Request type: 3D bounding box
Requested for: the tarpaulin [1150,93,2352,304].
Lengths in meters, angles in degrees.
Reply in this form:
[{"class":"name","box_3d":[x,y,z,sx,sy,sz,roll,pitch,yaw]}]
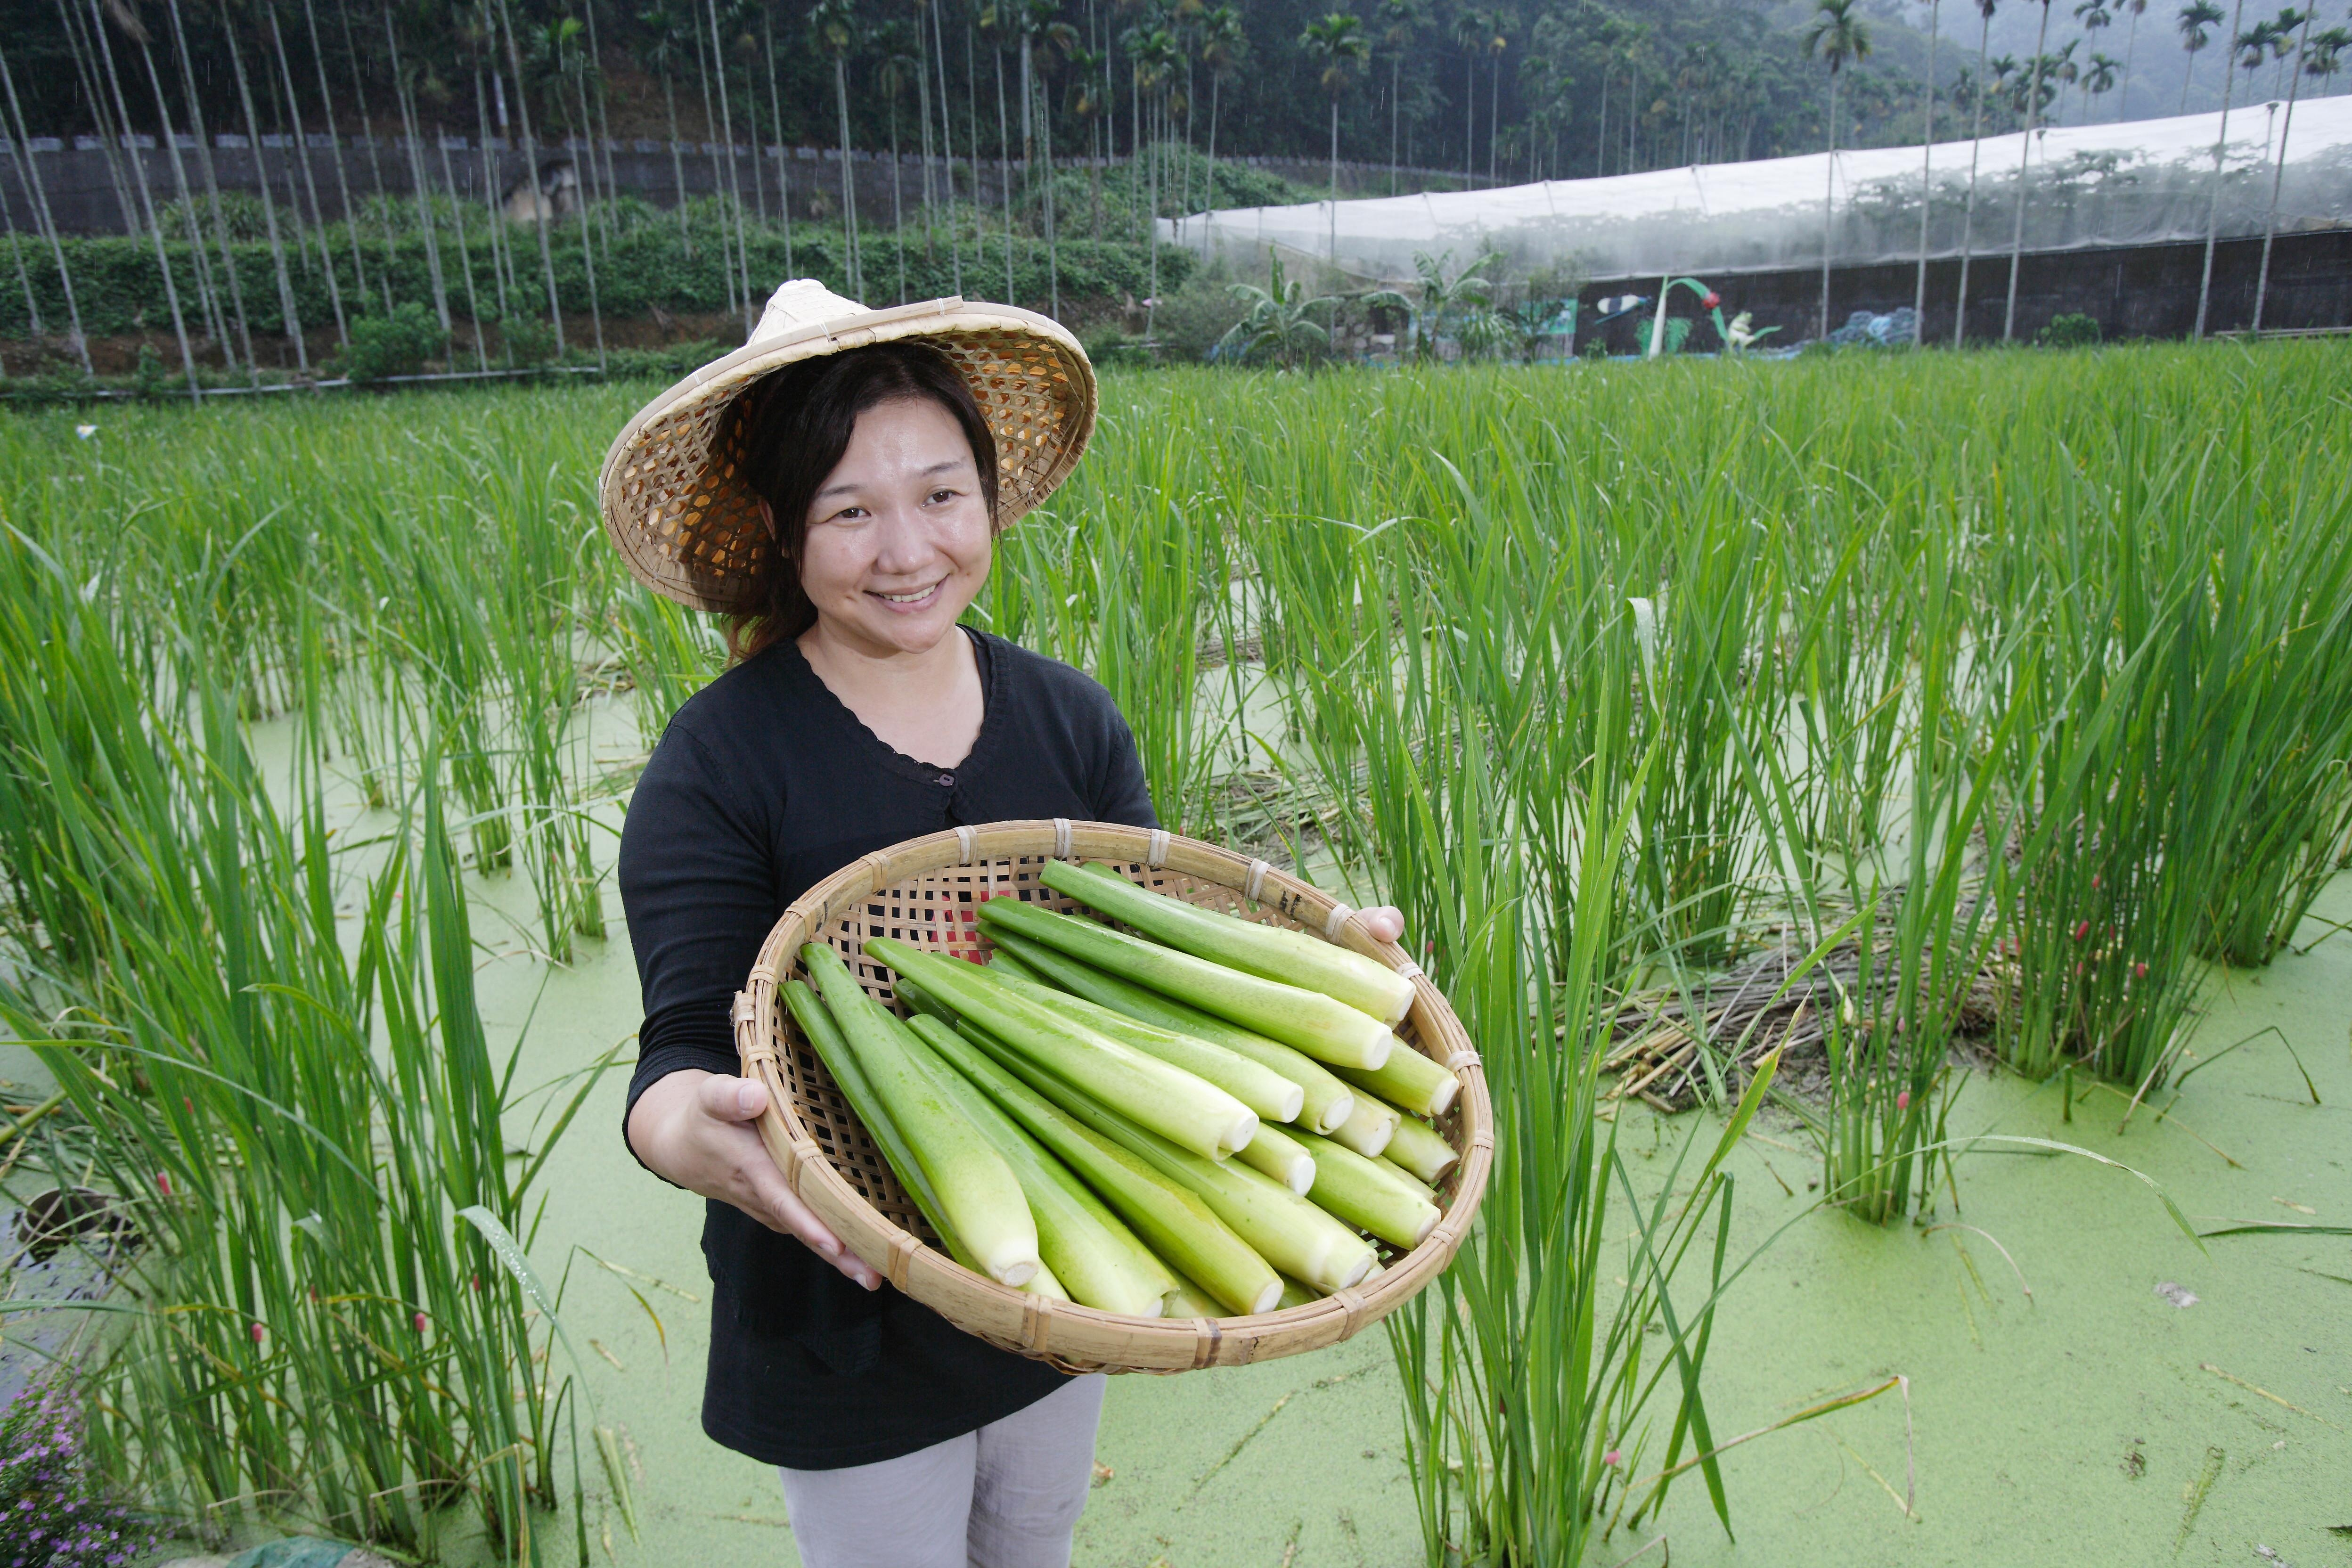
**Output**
[{"class":"tarpaulin","box_3d":[10.672,-13.266,36.399,23.544,1.904,3.546,9,2,36]}]
